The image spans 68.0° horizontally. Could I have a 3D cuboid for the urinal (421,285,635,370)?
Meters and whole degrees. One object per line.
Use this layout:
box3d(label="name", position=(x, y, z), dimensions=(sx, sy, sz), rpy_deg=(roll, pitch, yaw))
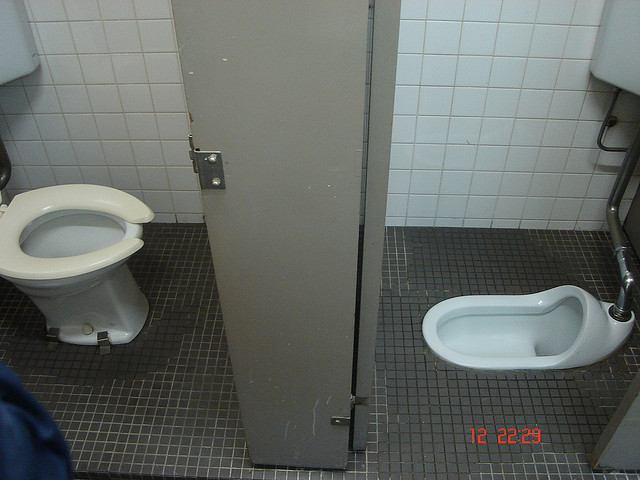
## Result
box3d(label="urinal", position=(0.845, 0.438, 2.091), dimensions=(0.780, 0.309, 0.376), rpy_deg=(0, 45, 12))

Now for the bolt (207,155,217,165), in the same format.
box3d(label="bolt", position=(-0.253, -0.190, 1.122), dimensions=(0.015, 0.019, 0.018), rpy_deg=(1, 12, -1))

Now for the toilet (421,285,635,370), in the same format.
box3d(label="toilet", position=(0.876, 0.426, 2.077), dimensions=(0.780, 0.311, 0.377), rpy_deg=(0, 45, 12))

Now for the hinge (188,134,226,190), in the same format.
box3d(label="hinge", position=(-0.264, -0.172, 1.169), dimensions=(0.072, 0.096, 0.094), rpy_deg=(-7, 25, -30))

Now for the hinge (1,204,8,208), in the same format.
box3d(label="hinge", position=(-1.324, -0.143, 2.003), dimensions=(0.035, 0.008, 0.035), rpy_deg=(15, 18, 40))

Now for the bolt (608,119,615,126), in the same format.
box3d(label="bolt", position=(1.353, -0.551, 2.219), dimensions=(0.024, 0.022, 0.005), rpy_deg=(-11, -6, 8))
